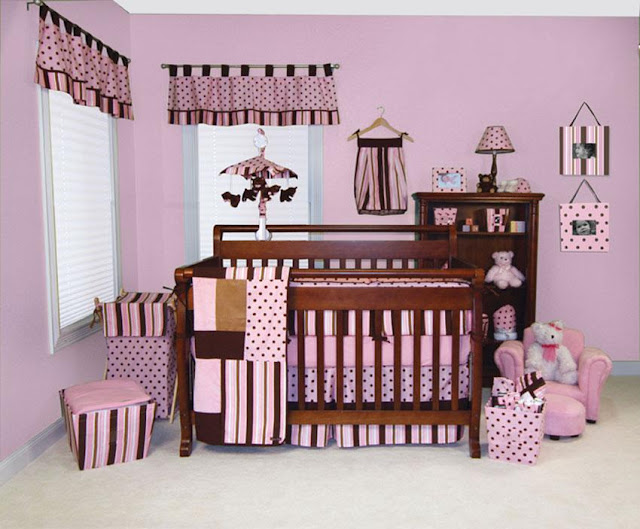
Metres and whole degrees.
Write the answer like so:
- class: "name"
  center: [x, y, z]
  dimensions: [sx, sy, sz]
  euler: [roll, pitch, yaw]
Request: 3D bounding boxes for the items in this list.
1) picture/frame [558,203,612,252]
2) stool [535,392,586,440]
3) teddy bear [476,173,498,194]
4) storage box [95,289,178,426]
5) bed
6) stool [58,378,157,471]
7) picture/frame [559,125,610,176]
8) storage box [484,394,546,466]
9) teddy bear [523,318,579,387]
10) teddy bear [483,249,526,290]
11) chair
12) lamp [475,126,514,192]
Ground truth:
- class: "picture/frame"
  center: [1.918, -0.284, 5.121]
  dimensions: [0.296, 0.346, 0.013]
  euler: [0, 1, 0]
- class: "stool"
  center: [1.411, 0.876, 4.091]
  dimensions: [0.219, 0.158, 0.237]
  euler: [0, -1, 5]
- class: "teddy bear"
  center: [1.166, -0.560, 4.937]
  dimensions: [0.163, 0.189, 0.081]
  euler: [-1, -2, 8]
- class: "storage box"
  center: [-1.160, 0.484, 4.446]
  dimensions: [0.391, 0.600, 0.403]
  euler: [2, 11, -11]
- class: "bed"
  center: [-0.009, 0.376, 4.545]
  dimensions: [1.802, 1.261, 1.491]
  euler: [1, 5, -1]
- class: "stool"
  center: [-1.211, 0.854, 4.024]
  dimensions: [0.557, 0.391, 0.556]
  euler: [15, 14, 34]
- class: "picture/frame"
  center: [1.900, -0.810, 5.113]
  dimensions: [0.330, 0.394, 0.036]
  euler: [2, -20, 17]
- class: "storage box"
  center: [1.063, 0.949, 4.020]
  dimensions: [0.432, 0.348, 0.442]
  euler: [9, -14, -41]
- class: "teddy bear"
  center: [1.413, 0.557, 4.383]
  dimensions: [0.301, 0.390, 0.302]
  euler: [-5, 9, -27]
- class: "teddy bear"
  center: [1.281, 0.036, 4.913]
  dimensions: [0.233, 0.256, 0.214]
  euler: [-2, 10, 0]
- class: "chair"
  center: [1.476, 0.682, 4.515]
  dimensions: [0.681, 0.581, 0.402]
  euler: [1, 1, 18]
- class: "lamp"
  center: [1.227, -0.729, 4.959]
  dimensions: [0.258, 0.457, 0.260]
  euler: [1, 13, -25]
